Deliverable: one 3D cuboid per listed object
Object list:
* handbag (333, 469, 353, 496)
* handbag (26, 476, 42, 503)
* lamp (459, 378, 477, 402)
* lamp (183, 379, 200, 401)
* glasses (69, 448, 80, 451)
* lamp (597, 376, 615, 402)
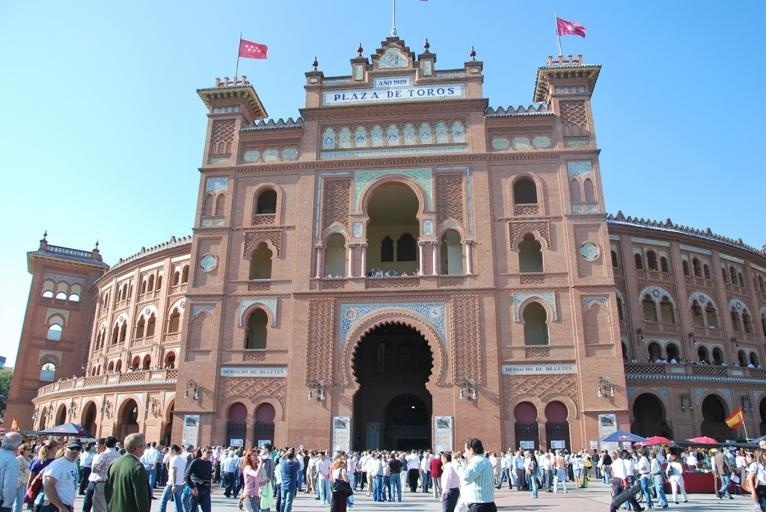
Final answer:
[{"bbox_3d":[-1.202,6.671,16.663,0.309,0.713,1.087,-6,-23,19],"label":"handbag"},{"bbox_3d":[-8.584,5.694,13.819,0.295,0.594,0.843,14,-25,-27],"label":"handbag"},{"bbox_3d":[4.689,7.405,31.068,1.078,1.038,0.259,0,-9,3],"label":"lamp"},{"bbox_3d":[-11.138,7.773,32.719,1.007,1.090,0.267,-4,-23,13],"label":"lamp"},{"bbox_3d":[-7.272,4.531,13.242,0.110,0.033,0.112,11,-39,-15],"label":"glasses"},{"bbox_3d":[12.255,7.238,30.829,0.809,1.144,0.377,0,-9,10],"label":"lamp"}]
